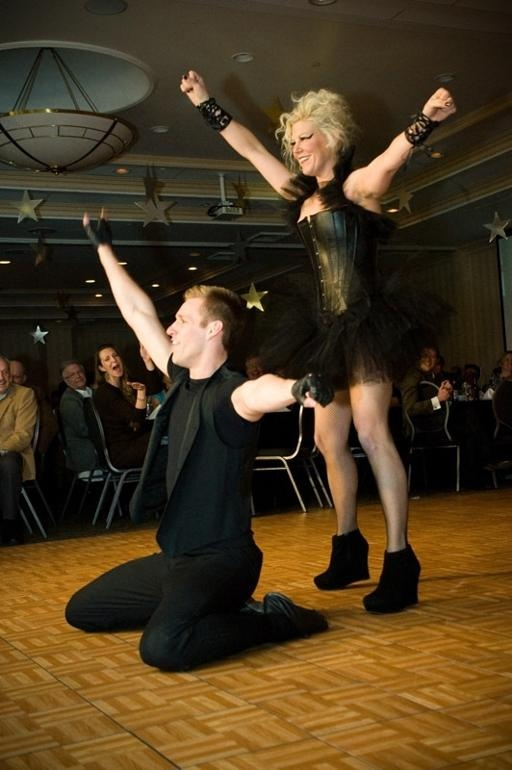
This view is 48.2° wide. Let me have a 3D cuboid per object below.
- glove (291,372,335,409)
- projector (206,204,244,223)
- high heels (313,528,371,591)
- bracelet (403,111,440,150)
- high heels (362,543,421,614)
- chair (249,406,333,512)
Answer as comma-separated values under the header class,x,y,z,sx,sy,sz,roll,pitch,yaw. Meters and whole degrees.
class,x,y,z,sx,sy,sz,roll,pitch,yaw
glove,0.098,0.007,0.991,0.033,0.051,0.066,-44,-6,-21
projector,-0.416,-2.224,7.384,0.360,0.073,0.329,1,-8,-14
high heels,0.279,0.594,1.978,0.221,0.183,0.100,-9,2,-10
bracelet,0.446,-0.696,1.579,0.080,0.073,0.117,32,-4,6
high heels,0.398,0.584,1.714,0.204,0.167,0.097,-6,2,-20
chair,0.107,0.532,4.811,0.663,0.751,0.590,-1,6,-22
